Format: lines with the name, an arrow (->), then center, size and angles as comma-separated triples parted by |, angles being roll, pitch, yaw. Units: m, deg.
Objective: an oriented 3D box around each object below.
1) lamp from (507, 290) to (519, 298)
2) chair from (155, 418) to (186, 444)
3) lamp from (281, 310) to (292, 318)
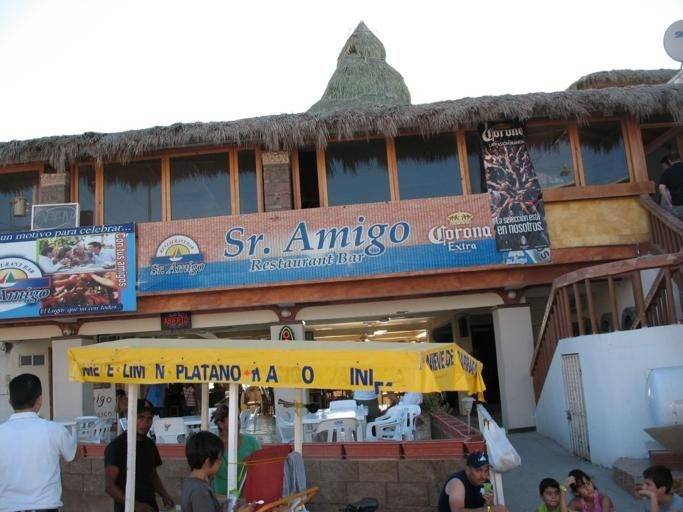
lamp -> 3.794, 0.816, 16.676 | 0.171, 0.174, 0.307 | -1, -1, 14
chair -> -3.208, 3.196, 14.255 | 0.644, 0.478, 0.459 | -2, -16, 8
lamp -> -1.263, 1.276, 17.099 | 0.175, 0.144, 0.204 | -9, -14, 24
